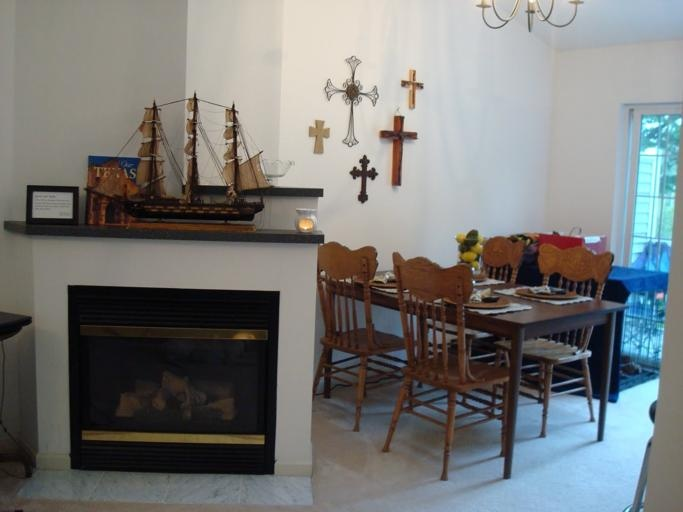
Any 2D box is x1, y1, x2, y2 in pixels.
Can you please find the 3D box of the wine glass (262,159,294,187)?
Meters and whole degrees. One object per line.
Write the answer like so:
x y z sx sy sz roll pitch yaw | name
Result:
-0.415 -0.521 4.058 0.094 0.158 0.399 8 13 28 | wine glass

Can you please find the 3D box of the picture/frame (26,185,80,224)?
-1.502 -0.264 3.371 0.179 0.176 0.019 0 -3 -12 | picture/frame

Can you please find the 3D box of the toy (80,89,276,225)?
-0.869 -0.503 3.453 0.940 0.712 0.680 -3 13 -24 | toy

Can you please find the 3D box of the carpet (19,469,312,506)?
-0.854 1.165 3.232 1.429 0.029 0.237 2 13 -2 | carpet
